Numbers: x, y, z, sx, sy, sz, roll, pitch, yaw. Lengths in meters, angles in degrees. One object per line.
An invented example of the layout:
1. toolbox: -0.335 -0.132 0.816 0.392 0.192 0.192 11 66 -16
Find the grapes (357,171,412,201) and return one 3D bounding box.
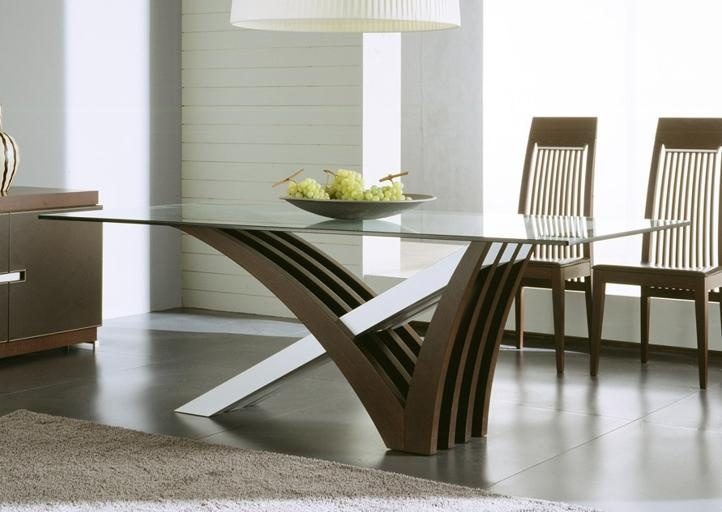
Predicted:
1. grapes: 0.093 -0.293 2.754 0.170 0.114 0.264 2 6 14
